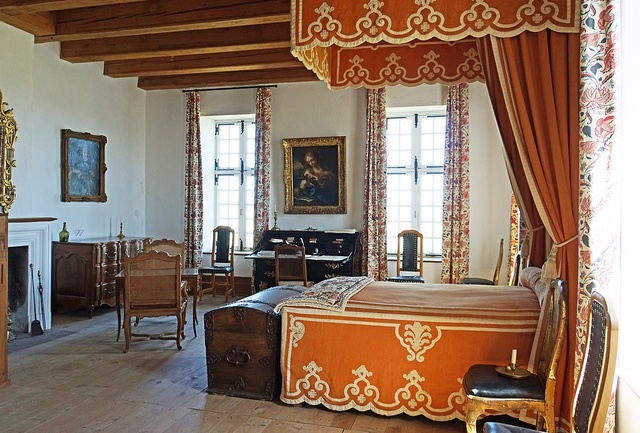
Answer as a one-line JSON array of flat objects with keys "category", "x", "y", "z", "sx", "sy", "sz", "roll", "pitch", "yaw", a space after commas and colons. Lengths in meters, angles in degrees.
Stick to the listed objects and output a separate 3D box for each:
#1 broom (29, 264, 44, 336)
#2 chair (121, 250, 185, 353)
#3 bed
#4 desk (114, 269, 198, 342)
[{"category": "broom", "x": -4.209, "y": 1.240, "z": 7.279, "sx": 0.110, "sy": 1.027, "sz": 0.208, "roll": -7, "pitch": -3, "yaw": 24}, {"category": "chair", "x": -2.276, "y": 1.113, "z": 6.752, "sx": 0.802, "sy": 1.378, "sz": 0.720, "roll": -2, "pitch": 7, "yaw": -14}, {"category": "bed", "x": 0.853, "y": 1.078, "z": 5.165, "sx": 1.775, "sy": 0.700, "sz": 1.784, "roll": 1, "pitch": -1, "yaw": 18}, {"category": "desk", "x": -2.346, "y": 1.097, "z": 7.315, "sx": 1.134, "sy": 1.270, "sz": 1.406, "roll": 0, "pitch": 0, "yaw": 5}]
